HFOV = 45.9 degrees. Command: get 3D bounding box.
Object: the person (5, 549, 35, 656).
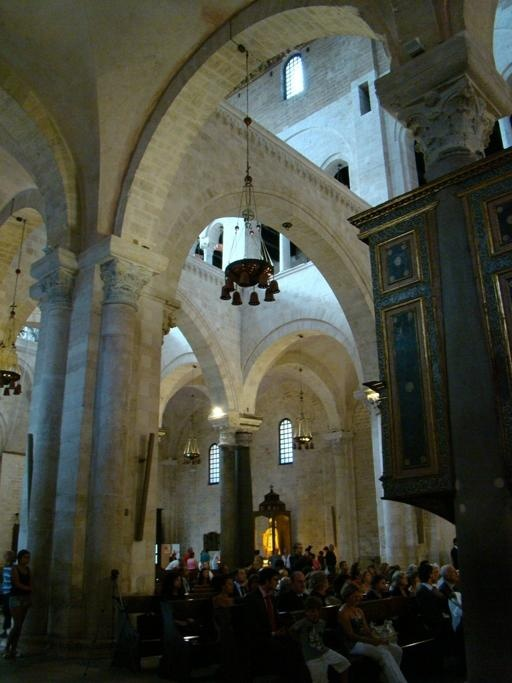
[{"bbox_3d":[-2.746,3.022,7.051,0.252,1.131,0.392,6,-20,-15],"label":"person"}]
